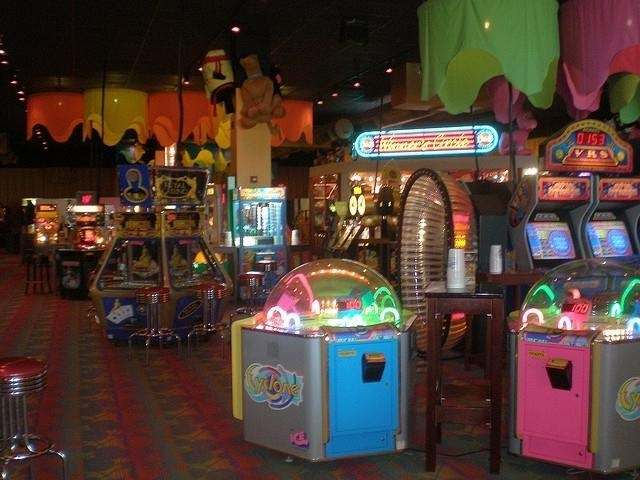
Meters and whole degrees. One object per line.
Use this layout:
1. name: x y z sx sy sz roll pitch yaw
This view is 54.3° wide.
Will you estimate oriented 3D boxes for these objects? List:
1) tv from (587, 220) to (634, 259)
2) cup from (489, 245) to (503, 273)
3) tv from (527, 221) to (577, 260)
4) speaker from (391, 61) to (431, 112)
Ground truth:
1. tv: 3.205 -0.024 6.879 0.438 0.440 0.107 -3 -12 -18
2. cup: 1.675 0.186 5.878 0.105 0.276 0.165 -2 0 11
3. tv: 2.477 -0.011 6.676 0.464 0.451 0.112 -3 -14 -17
4. speaker: 1.538 -2.645 10.597 0.690 0.756 0.841 -2 0 13
